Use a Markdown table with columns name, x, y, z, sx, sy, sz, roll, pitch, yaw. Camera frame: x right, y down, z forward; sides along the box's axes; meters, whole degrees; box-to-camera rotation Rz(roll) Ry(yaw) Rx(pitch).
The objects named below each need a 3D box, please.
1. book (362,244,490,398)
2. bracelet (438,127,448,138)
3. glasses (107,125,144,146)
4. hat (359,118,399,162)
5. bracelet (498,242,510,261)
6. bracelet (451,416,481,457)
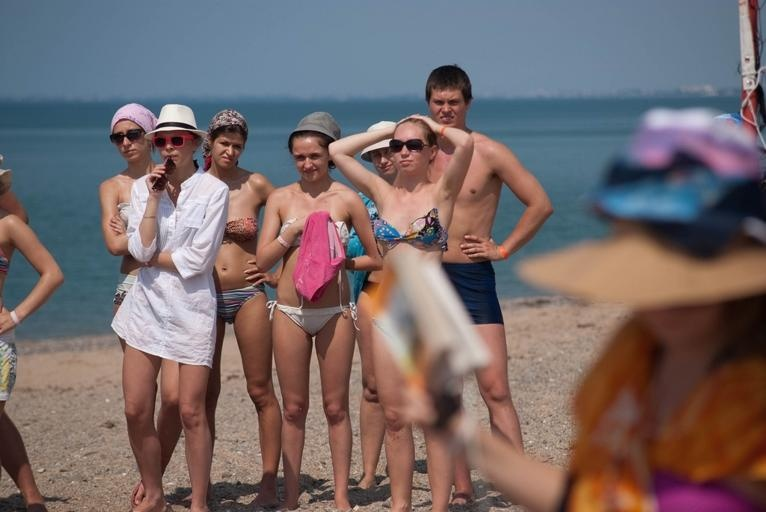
| name | x | y | z | sx | sy | sz | roll | pitch | yaw |
| --- | --- | --- | --- | --- | --- | --- | --- | --- | --- |
| book | 0.246 | 0.239 | 4.159 | 0.178 | 0.574 | 0.437 | -27 | 1 | -43 |
| bracelet | 0.444 | -0.904 | 7.405 | 0.016 | 0.063 | 0.066 | 13 | -13 | -36 |
| glasses | -2.069 | -1.006 | 8.323 | 0.175 | 0.057 | 0.174 | -12 | 12 | 20 |
| hat | -0.049 | -0.980 | 8.670 | 0.361 | 0.206 | 0.389 | -5 | -16 | -11 |
| bracelet | 0.924 | -0.028 | 7.766 | 0.071 | 0.095 | 0.096 | -8 | 13 | -29 |
| bracelet | 0.365 | 0.755 | 4.259 | 0.072 | 0.206 | 0.141 | 11 | 19 | 32 |
